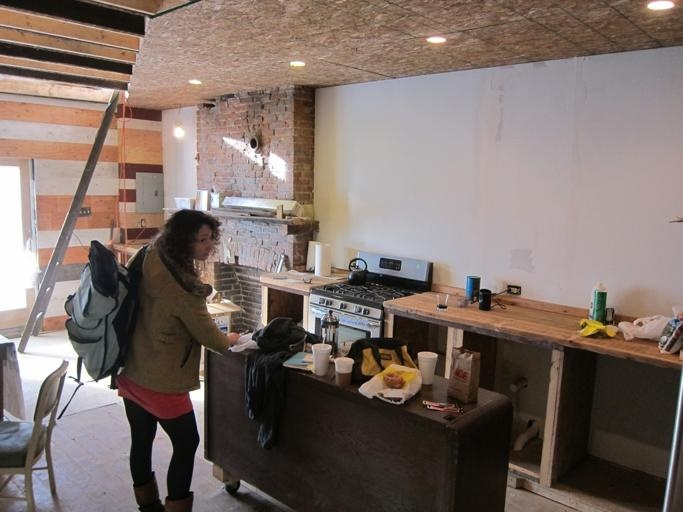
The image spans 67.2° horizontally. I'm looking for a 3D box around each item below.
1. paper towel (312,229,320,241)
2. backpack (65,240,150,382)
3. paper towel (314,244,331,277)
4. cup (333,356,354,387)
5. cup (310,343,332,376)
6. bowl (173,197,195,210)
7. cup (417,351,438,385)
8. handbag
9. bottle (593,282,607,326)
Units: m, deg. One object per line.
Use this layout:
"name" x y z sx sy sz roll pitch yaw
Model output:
"paper towel" -0.280 -0.242 5.779 0.112 0.101 0.060 14 22 33
"backpack" -1.344 0.314 3.018 0.481 0.847 0.295 -8 16 -29
"paper towel" -0.196 0.036 5.440 0.154 0.328 0.182 -1 13 -3
"cup" 0.011 0.650 2.950 0.149 0.135 0.140 1 13 0
"cup" -0.120 0.610 3.107 0.111 0.173 0.164 -1 13 -3
"bowl" -2.017 -0.678 6.676 0.237 0.156 0.399 -4 13 -15
"cup" 0.507 0.638 3.029 0.103 0.195 0.182 1 13 8
"handbag" 0.247 0.641 2.968 0.420 0.228 0.487 0 12 1
"bottle" 1.932 0.356 3.838 0.100 0.275 0.126 2 14 12
